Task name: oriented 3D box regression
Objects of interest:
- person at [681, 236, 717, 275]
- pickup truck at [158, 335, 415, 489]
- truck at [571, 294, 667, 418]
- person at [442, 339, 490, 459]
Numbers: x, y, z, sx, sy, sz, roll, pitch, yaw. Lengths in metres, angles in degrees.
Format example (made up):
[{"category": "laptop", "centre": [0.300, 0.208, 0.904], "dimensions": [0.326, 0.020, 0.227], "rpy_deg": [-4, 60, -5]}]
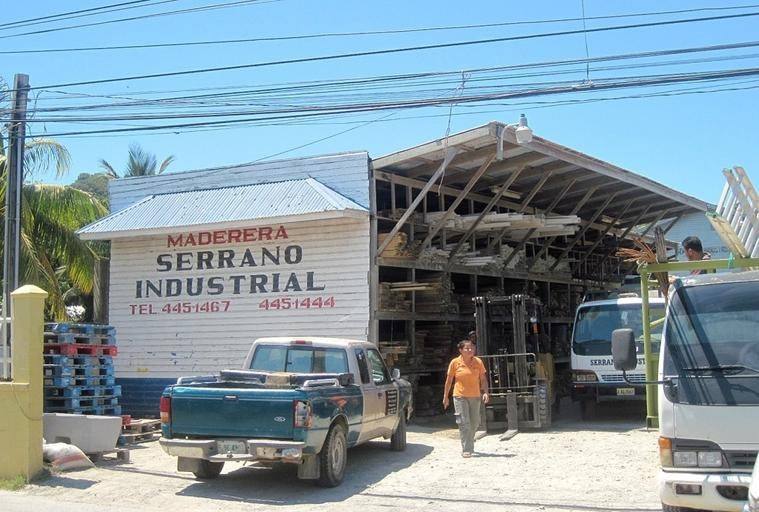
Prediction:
[{"category": "person", "centre": [5.170, 0.004, 14.094], "dimensions": [0.445, 0.614, 1.447], "rpy_deg": [1, 3, 19]}, {"category": "pickup truck", "centre": [-1.564, 2.852, 16.084], "dimensions": [2.433, 2.456, 4.374], "rpy_deg": [3, 4, 37]}, {"category": "truck", "centre": [5.592, 2.297, 21.223], "dimensions": [2.135, 2.189, 3.961], "rpy_deg": [-4, -11, 22]}, {"category": "person", "centre": [1.748, 2.922, 17.689], "dimensions": [0.727, 2.332, 0.708], "rpy_deg": [2, 4, 27]}]
